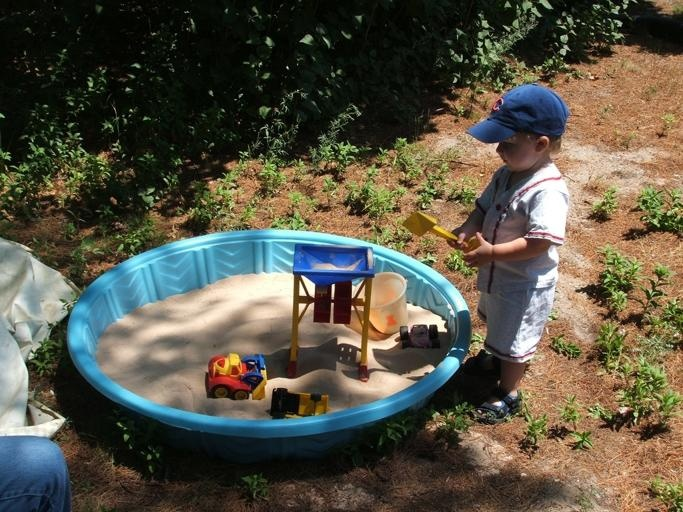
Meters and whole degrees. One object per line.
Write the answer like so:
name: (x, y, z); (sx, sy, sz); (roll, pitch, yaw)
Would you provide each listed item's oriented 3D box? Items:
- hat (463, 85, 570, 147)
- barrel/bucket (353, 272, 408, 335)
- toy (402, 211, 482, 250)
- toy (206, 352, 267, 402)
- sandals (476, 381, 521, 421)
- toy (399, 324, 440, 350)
hat: (1.011, -0.833, 3.640); (0.573, 0.262, 0.336); (1, 23, 2)
barrel/bucket: (0.360, 0.365, 4.632); (0.291, 0.442, 0.331); (5, 30, 2)
toy: (0.741, -0.175, 4.664); (0.568, 0.161, 0.254); (14, 31, -7)
toy: (-0.710, 0.791, 4.130); (0.410, 0.186, 0.279); (8, 30, -28)
sandals: (1.050, 0.983, 4.155); (0.368, 0.149, 0.159); (-12, 20, -21)
toy: (0.568, 0.575, 4.502); (0.300, 0.186, 0.206); (7, 29, 7)
